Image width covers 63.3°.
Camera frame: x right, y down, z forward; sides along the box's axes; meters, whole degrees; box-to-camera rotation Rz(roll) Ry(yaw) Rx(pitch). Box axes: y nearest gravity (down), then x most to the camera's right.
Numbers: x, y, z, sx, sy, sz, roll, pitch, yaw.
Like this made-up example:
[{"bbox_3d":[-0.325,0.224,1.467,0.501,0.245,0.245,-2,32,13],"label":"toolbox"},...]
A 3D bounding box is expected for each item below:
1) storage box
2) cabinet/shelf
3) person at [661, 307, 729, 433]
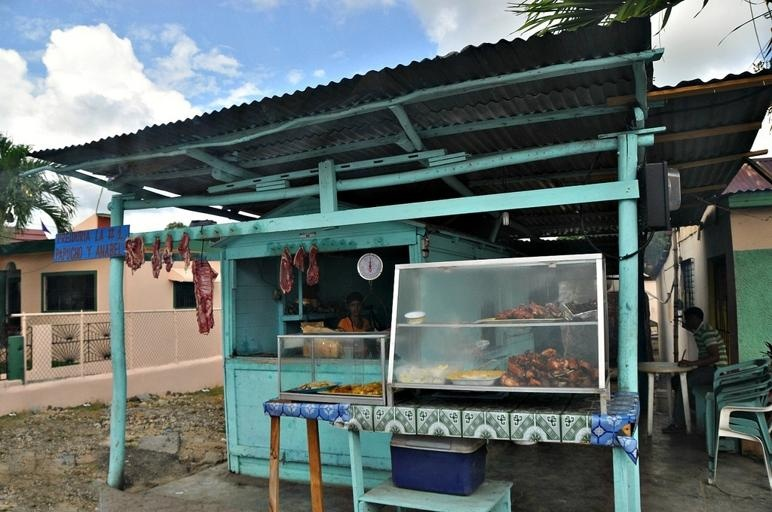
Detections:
[{"bbox_3d":[0.561,2.365,7.327,1.140,0.647,0.983,-2,-3,26],"label":"storage box"},{"bbox_3d":[1.443,0.587,7.729,3.097,2.041,1.629,-1,-4,15],"label":"cabinet/shelf"},{"bbox_3d":[5.223,1.810,10.547,0.993,2.265,0.956,0,-1,9],"label":"person"}]
